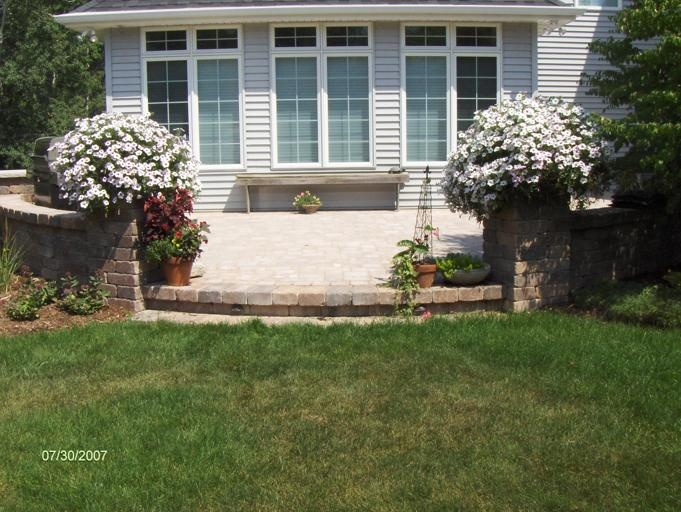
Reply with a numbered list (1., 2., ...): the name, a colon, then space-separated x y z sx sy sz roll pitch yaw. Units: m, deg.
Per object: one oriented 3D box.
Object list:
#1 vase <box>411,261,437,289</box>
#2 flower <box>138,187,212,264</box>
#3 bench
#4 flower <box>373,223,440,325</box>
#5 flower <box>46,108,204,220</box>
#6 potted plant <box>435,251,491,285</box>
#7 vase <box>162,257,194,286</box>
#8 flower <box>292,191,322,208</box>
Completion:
1. vase: 0.870 0.199 7.619 0.222 0.227 0.237 0 1 -1
2. flower: -1.760 -0.159 8.068 0.581 0.926 0.674 -11 -14 17
3. bench: -0.302 -1.105 13.495 3.042 0.789 0.626 -1 7 -3
4. flower: 0.710 0.204 7.629 0.536 0.752 0.707 0 8 5
5. flower: -2.234 -1.084 8.192 1.232 0.913 1.174 -12 11 -23
6. potted plant: 1.299 0.136 7.849 0.580 0.319 0.409 1 8 7
7. vase: -1.743 0.172 7.911 0.270 0.238 0.289 0 -3 -2
8. flower: -0.607 -1.005 13.479 0.348 0.224 0.375 0 8 0
